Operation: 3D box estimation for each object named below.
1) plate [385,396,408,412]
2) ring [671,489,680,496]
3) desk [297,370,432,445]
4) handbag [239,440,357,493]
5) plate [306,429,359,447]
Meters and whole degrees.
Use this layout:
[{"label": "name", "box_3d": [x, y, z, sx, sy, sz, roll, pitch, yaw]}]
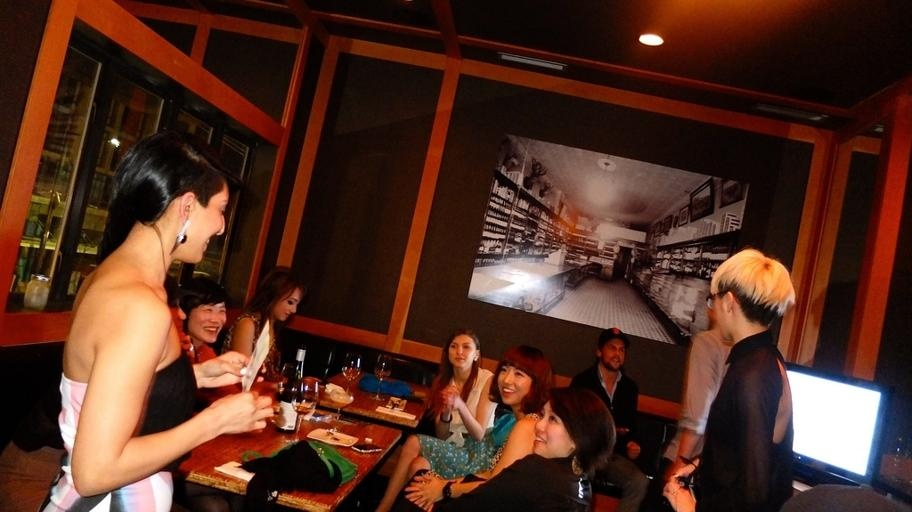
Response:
[{"label": "plate", "box_3d": [-0.509, 1.248, 4.307, 0.098, 0.091, 0.091, 12, 0, 1]}, {"label": "ring", "box_3d": [1.207, 1.301, 2.806, 0.035, 0.029, 0.008, 3, -12, 8]}, {"label": "desk", "box_3d": [-0.714, 1.226, 4.293, 1.093, 0.242, 0.720, 8, 8, 44]}, {"label": "handbag", "box_3d": [-0.892, 1.232, 2.952, 0.432, 0.131, 0.344, 3, 1, -29]}, {"label": "plate", "box_3d": [-0.817, 1.187, 3.336, 0.195, 0.027, 0.138, 8, 4, 15]}]
